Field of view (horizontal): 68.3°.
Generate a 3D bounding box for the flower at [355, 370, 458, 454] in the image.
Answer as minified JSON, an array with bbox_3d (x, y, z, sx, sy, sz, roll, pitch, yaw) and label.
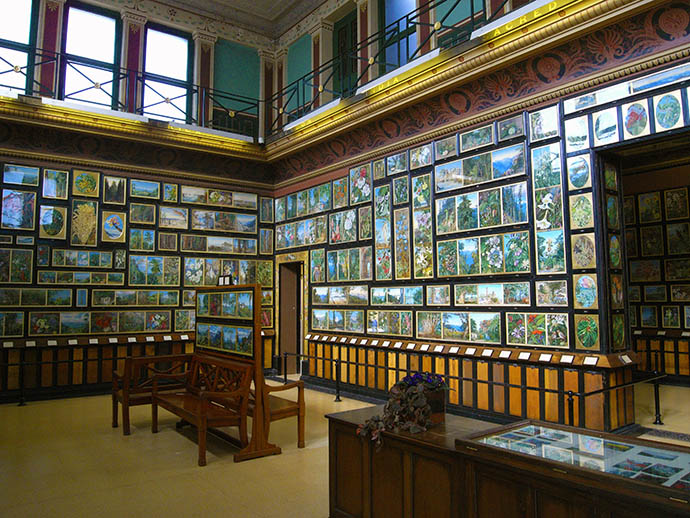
[{"bbox_3d":[0.661,1.534,5.474,0.766,0.508,0.724,3,-5,-43],"label":"flower"}]
